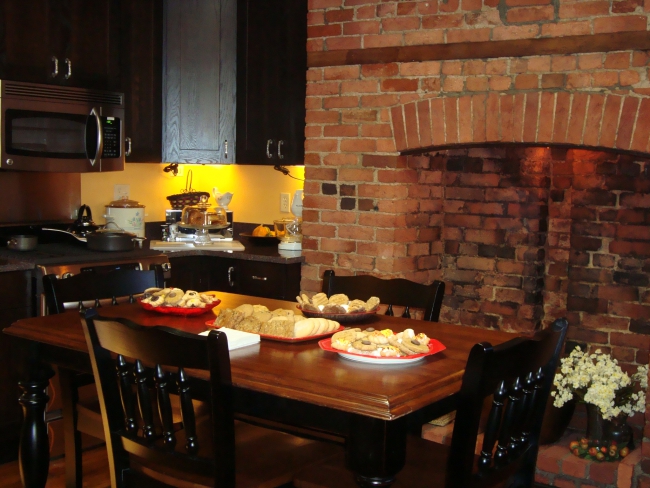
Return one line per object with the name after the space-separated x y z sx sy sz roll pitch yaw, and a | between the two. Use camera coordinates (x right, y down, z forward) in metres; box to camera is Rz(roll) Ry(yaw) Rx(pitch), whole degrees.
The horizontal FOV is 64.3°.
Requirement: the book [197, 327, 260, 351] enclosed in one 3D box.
-0.268 0.276 1.541 0.141 0.028 0.142 6 6 39 | book

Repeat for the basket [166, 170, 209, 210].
-1.082 -0.431 4.197 0.311 0.346 0.253 6 11 34 | basket

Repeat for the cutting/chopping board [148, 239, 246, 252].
-0.896 0.012 3.608 0.615 0.038 0.461 -1 7 -16 | cutting/chopping board

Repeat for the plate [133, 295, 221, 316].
-0.529 0.201 1.912 0.228 0.054 0.229 5 8 30 | plate

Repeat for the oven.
-1.029 0.144 2.238 0.579 0.205 0.364 -6 17 -35 | oven

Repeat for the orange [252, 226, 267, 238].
-0.493 -0.092 3.857 0.103 0.081 0.090 1 2 -24 | orange

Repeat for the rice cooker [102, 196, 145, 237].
-1.393 -0.187 3.656 0.358 0.290 0.312 -1 3 -34 | rice cooker

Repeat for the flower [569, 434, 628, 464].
1.260 0.931 2.356 0.259 0.081 0.087 1 8 3 | flower

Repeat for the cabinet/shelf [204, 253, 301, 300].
-0.480 0.099 3.375 0.567 0.434 0.324 3 3 37 | cabinet/shelf

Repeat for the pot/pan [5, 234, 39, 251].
-1.794 -0.014 3.046 0.105 0.052 0.134 10 14 37 | pot/pan

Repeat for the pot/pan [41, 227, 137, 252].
-1.525 -0.039 3.347 0.618 0.129 0.554 -1 7 -15 | pot/pan
